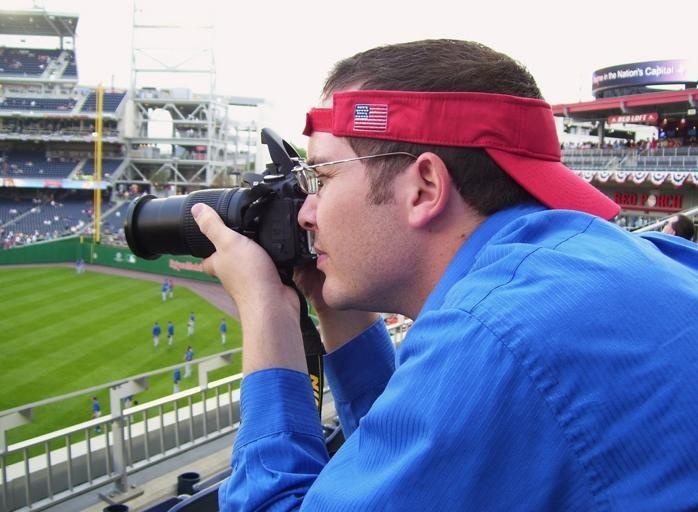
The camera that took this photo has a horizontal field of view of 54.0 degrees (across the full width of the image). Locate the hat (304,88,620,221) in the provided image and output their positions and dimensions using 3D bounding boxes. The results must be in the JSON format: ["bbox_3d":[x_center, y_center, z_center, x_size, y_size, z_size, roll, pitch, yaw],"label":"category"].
[{"bbox_3d":[0.219,-0.226,1.246,0.409,0.147,0.299,15,4,5],"label":"hat"}]

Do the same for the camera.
[{"bbox_3d":[-0.319,-0.120,1.952,0.579,0.401,0.301,-1,-7,29],"label":"camera"}]
